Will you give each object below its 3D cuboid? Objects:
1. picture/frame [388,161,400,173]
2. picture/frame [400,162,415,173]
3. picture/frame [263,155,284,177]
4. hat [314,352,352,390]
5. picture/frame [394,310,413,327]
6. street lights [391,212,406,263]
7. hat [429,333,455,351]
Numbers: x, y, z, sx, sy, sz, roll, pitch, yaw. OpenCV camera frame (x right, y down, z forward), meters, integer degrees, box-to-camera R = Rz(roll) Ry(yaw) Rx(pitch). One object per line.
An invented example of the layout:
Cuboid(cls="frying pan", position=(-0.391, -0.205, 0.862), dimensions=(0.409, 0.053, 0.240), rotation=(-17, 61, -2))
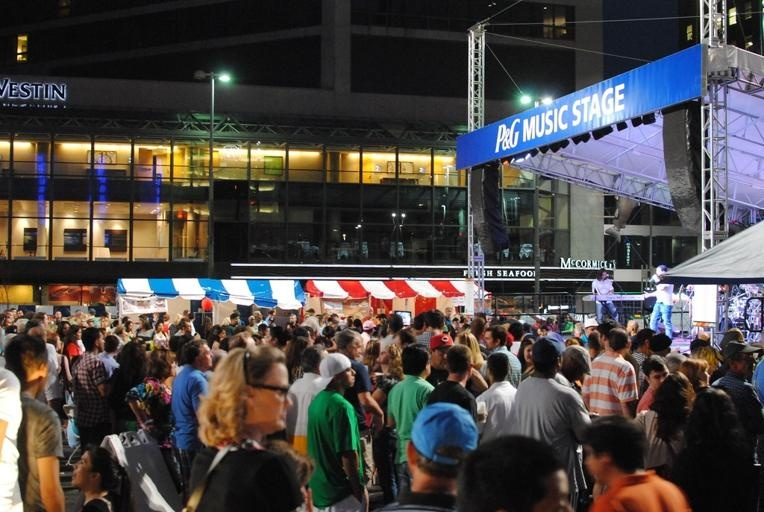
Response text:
Cuboid(cls="picture/frame", position=(0.616, -4.836, 57.268), dimensions=(0.713, 0.552, 0.065), rotation=(0, -3, 12))
Cuboid(cls="picture/frame", position=(1.282, -4.840, 57.483), dimensions=(0.618, 0.427, 0.058), rotation=(0, 3, -6))
Cuboid(cls="picture/frame", position=(-5.740, -4.838, 56.647), dimensions=(1.217, 1.136, 0.162), rotation=(0, 4, -4))
Cuboid(cls="hat", position=(-1.257, 2.759, 26.786), dimensions=(1.042, 0.553, 0.667), rotation=(-36, 26, -21))
Cuboid(cls="picture/frame", position=(0.710, 2.078, 36.823), dimensions=(0.941, 0.623, 0.123), rotation=(5, -9, -38))
Cuboid(cls="street lights", position=(0.805, -1.199, 56.903), dimensions=(0.815, 2.589, 0.323), rotation=(-1, -4, 1))
Cuboid(cls="hat", position=(1.534, 2.208, 28.262), dimensions=(0.511, 0.249, 0.376), rotation=(-14, -7, 31))
